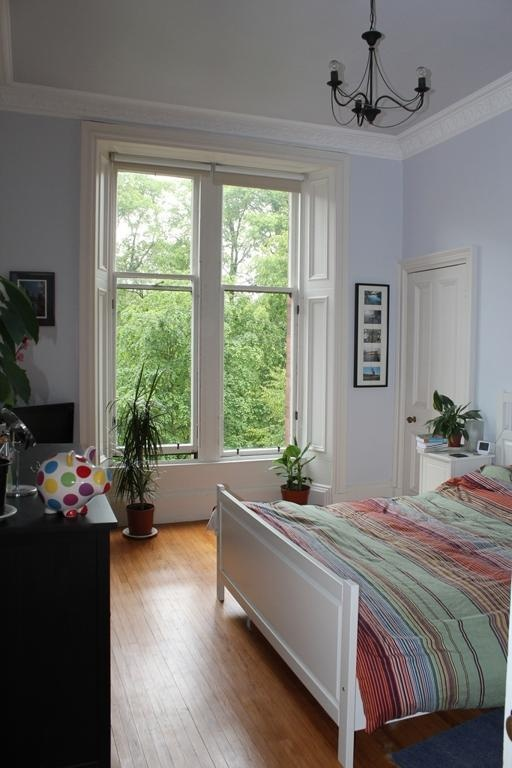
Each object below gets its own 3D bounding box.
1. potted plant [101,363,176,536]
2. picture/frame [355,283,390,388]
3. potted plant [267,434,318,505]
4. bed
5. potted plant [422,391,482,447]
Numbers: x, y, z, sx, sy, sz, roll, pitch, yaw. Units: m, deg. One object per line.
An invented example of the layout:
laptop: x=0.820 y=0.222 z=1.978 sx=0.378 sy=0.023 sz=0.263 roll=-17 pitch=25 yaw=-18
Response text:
potted plant: x=-0.878 y=0.480 z=4.148 sx=0.450 sy=1.237 sz=0.643 roll=-2 pitch=1 yaw=-10
picture/frame: x=0.954 y=-0.398 z=4.585 sx=0.347 sy=0.698 sz=0.094 roll=-2 pitch=1 yaw=-32
potted plant: x=0.328 y=0.669 z=4.787 sx=0.426 sy=0.762 sz=0.436 roll=-4 pitch=7 yaw=-24
bed: x=0.428 y=0.785 z=2.045 sx=0.812 sy=0.362 sz=0.835 roll=3 pitch=14 yaw=-25
potted plant: x=1.281 y=0.225 z=3.668 sx=0.367 sy=0.328 sz=0.381 roll=-17 pitch=-2 yaw=9
